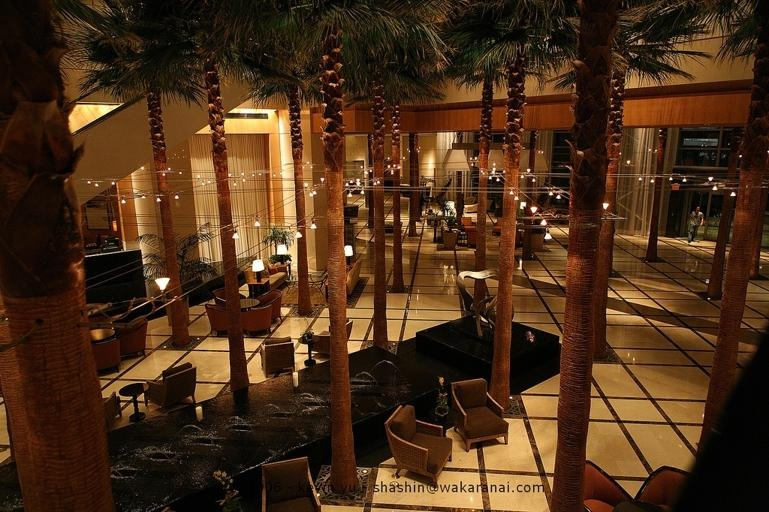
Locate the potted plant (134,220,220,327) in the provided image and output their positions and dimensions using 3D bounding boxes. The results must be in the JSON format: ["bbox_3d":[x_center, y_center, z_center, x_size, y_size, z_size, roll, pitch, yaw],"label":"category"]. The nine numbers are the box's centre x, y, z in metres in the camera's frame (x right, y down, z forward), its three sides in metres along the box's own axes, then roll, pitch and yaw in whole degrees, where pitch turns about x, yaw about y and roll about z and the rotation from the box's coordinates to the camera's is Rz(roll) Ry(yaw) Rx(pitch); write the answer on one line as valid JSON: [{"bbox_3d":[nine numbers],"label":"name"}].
[{"bbox_3d":[-6.043,0.421,15.580,1.903,2.497,2.741,-4,11,-22],"label":"potted plant"}]

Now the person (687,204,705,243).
[{"bbox_3d":[12.981,-1.297,22.243,0.558,1.569,1.680,7,12,30],"label":"person"}]

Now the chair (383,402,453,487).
[{"bbox_3d":[0.510,3.230,9.038,1.124,1.047,1.052,6,19,23],"label":"chair"}]

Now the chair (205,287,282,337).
[{"bbox_3d":[-3.832,1.545,13.871,1.277,0.774,1.505,-11,12,-38],"label":"chair"}]

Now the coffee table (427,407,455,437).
[{"bbox_3d":[1.040,3.127,9.875,0.458,0.104,0.450,0,11,1],"label":"coffee table"}]

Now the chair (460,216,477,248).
[{"bbox_3d":[3.521,-0.956,22.471,0.591,1.088,1.609,2,10,11],"label":"chair"}]

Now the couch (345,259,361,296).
[{"bbox_3d":[-0.971,0.717,16.201,0.375,0.416,1.060,4,19,5],"label":"couch"}]

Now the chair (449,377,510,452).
[{"bbox_3d":[1.689,2.890,9.715,0.848,0.997,1.179,-3,7,-7],"label":"chair"}]

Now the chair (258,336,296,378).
[{"bbox_3d":[-2.444,2.200,11.921,0.672,0.826,0.905,-6,8,-25],"label":"chair"}]

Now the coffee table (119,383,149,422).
[{"bbox_3d":[-4.861,2.882,10.302,0.482,0.513,0.466,-18,30,-42],"label":"coffee table"}]
